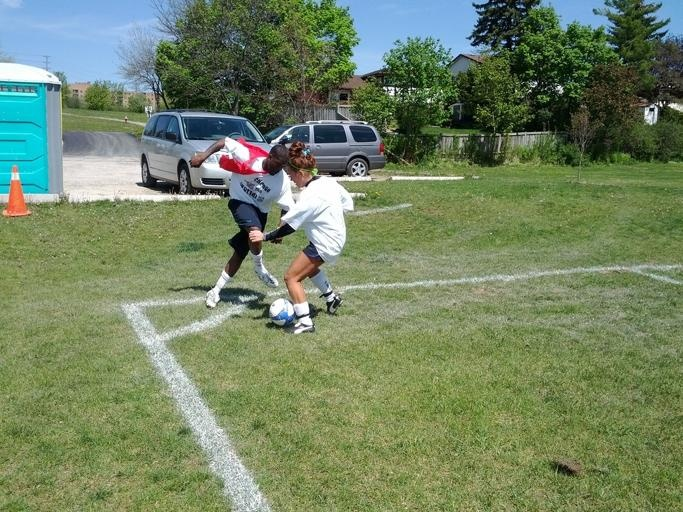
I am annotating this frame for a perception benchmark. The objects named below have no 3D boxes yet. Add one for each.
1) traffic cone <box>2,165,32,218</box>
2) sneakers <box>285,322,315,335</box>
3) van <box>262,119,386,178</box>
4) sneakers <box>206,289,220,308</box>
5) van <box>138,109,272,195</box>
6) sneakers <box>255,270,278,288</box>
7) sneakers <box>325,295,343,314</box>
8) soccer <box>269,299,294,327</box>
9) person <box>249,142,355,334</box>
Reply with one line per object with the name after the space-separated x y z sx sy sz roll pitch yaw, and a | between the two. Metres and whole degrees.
-6.234 -1.245 11.225 0.460 0.902 0.748 -6 13 -30 | traffic cone
-0.447 0.816 6.692 0.249 0.127 0.127 2 5 -7 | sneakers
-0.431 -3.769 20.457 3.786 1.758 1.937 0 9 -19 | van
-1.601 0.493 7.271 0.124 0.288 0.135 21 30 5 | sneakers
-3.907 -2.672 15.306 2.044 1.739 3.754 -3 8 -30 | van
-0.965 0.288 7.622 0.152 0.308 0.127 -44 9 -20 | sneakers
-0.092 0.591 7.226 0.155 0.330 0.113 24 43 -6 | sneakers
-0.679 0.650 6.745 0.274 0.292 0.279 -28 -6 0 | soccer
-0.366 -0.226 6.706 0.994 2.105 0.563 -1 11 -8 | person
